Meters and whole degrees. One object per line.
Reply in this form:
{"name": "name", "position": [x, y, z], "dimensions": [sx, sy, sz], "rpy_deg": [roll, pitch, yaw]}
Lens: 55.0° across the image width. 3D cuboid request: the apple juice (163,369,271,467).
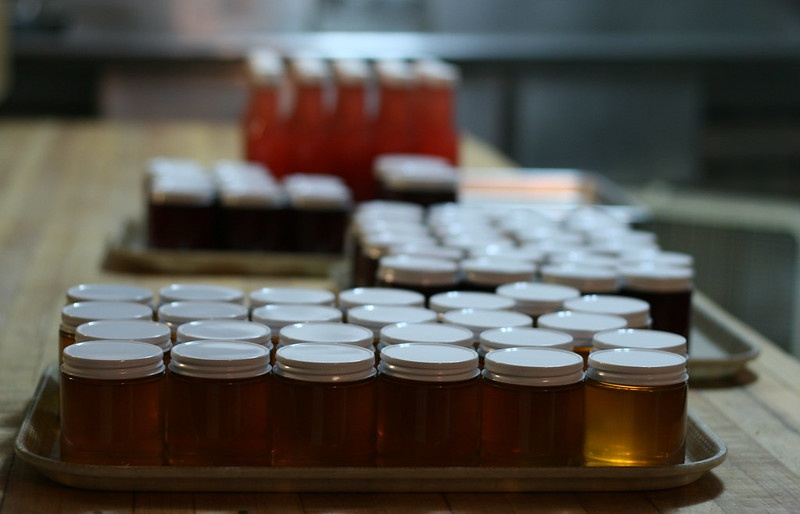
{"name": "apple juice", "position": [-0.141, 0.121, 0.602], "dimensions": [0.056, 0.066, 0.089], "rpy_deg": [-2, 10, -10]}
